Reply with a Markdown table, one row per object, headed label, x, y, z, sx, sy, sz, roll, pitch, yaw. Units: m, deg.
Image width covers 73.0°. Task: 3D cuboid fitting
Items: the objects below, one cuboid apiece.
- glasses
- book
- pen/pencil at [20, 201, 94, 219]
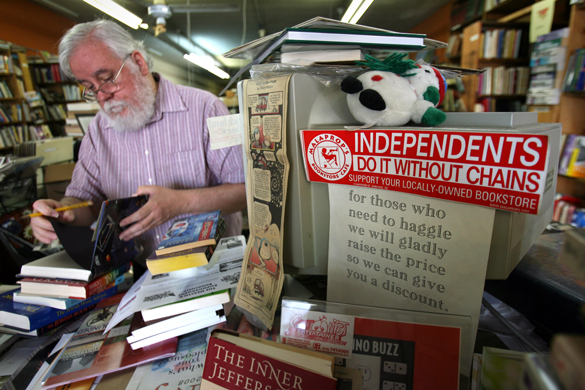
| label | x | y | z | sx | sy | sz | roll | pitch | yaw |
| --- | --- | --- | --- | --- | --- | --- | --- | --- | --- |
| glasses | -0.829 | -0.545 | 1.889 | 0.071 | 0.237 | 0.230 | 41 | -29 | -30 |
| book | 0.195 | -0.105 | 1.081 | 0.918 | 0.586 | 0.660 | -8 | 13 | -30 |
| pen/pencil | -0.988 | 0.064 | 1.637 | 0.235 | 0.024 | 0.025 | -16 | 38 | -31 |
